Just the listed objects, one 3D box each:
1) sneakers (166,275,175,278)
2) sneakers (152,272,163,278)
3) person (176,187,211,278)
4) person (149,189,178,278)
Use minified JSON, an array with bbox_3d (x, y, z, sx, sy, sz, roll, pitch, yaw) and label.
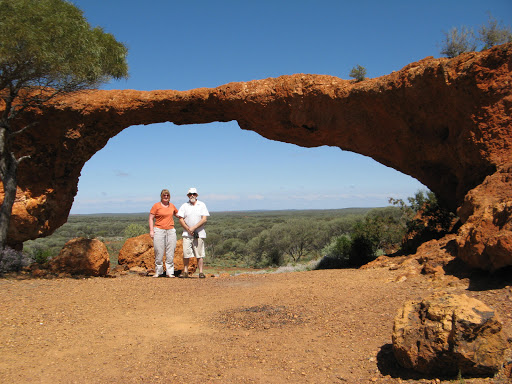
[{"bbox_3d":[-2.045,1.998,9.557,0.078,0.090,0.227,3,-13,-44],"label":"sneakers"},{"bbox_3d":[-2.331,1.949,9.434,0.126,0.082,0.200,-5,-15,26],"label":"sneakers"},{"bbox_3d":[-1.532,1.042,9.695,0.751,2.414,1.210,-2,12,-7],"label":"person"},{"bbox_3d":[-2.180,0.975,9.407,0.706,2.078,0.448,-8,14,-31],"label":"person"}]
